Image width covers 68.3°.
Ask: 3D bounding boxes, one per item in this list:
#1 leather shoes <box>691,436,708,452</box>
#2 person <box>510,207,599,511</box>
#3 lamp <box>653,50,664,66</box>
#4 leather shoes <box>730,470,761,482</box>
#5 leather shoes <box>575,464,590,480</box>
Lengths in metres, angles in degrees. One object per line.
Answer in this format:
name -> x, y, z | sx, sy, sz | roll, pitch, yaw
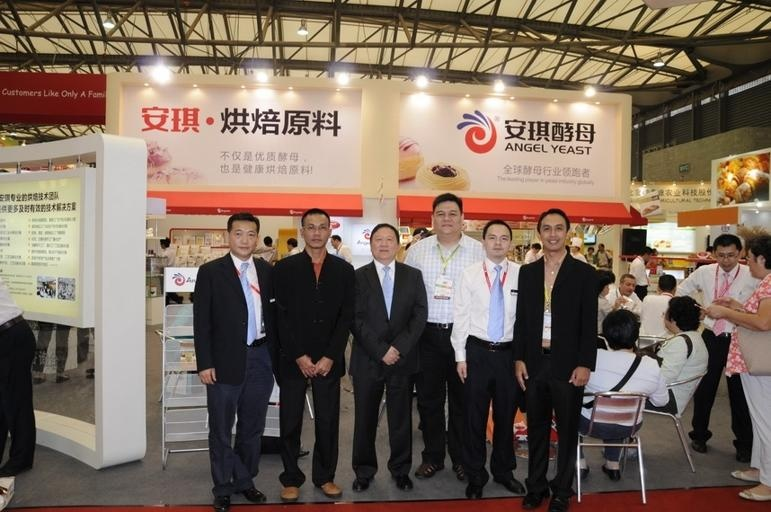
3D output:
leather shoes -> 3.299, 1.977, 5.948 | 0.094, 0.068, 0.178 | -1, -8, 3
person -> 1.525, 0.911, 5.073 | 0.732, 2.535, 0.946 | 1, 15, 3
lamp -> 8.354, -6.014, 17.306 | 0.361, 0.487, 1.126 | 7, 16, 24
leather shoes -> 3.450, 2.076, 5.403 | 0.205, 0.047, 0.094 | 3, 4, 24
leather shoes -> 1.857, 2.030, 5.361 | 0.134, 0.145, 0.354 | -3, -13, 13
